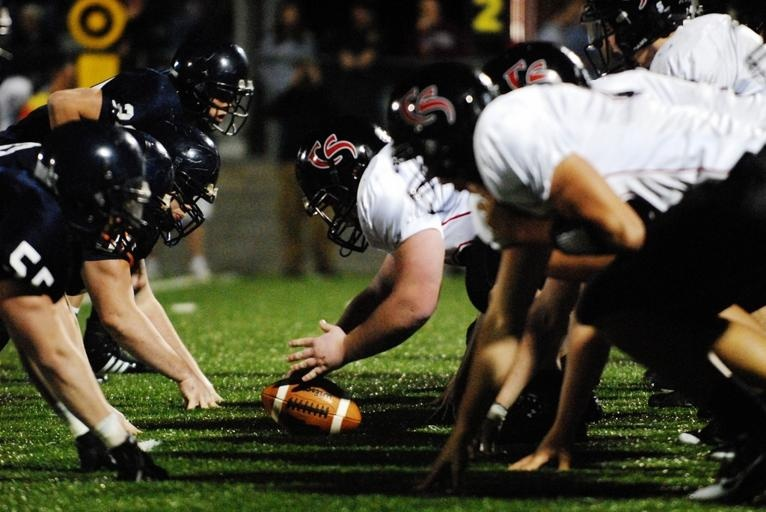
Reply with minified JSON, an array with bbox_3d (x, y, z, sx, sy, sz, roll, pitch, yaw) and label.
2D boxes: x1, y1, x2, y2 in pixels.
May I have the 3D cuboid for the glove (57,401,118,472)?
[{"bbox_3d":[-0.852,0.544,3.108,0.101,0.194,0.291,-25,-22,-1],"label":"glove"}]

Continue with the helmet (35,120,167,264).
[{"bbox_3d":[-0.868,-0.185,3.292,0.401,0.506,0.487,-1,16,-11],"label":"helmet"}]

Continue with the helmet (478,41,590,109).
[{"bbox_3d":[0.603,-0.684,3.893,0.421,0.124,0.465,0,5,0],"label":"helmet"}]

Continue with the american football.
[{"bbox_3d":[-0.232,0.503,3.556,0.279,0.157,0.171,10,4,2],"label":"american football"}]

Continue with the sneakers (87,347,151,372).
[{"bbox_3d":[-1.083,0.422,4.273,0.291,0.115,0.084,1,4,-17],"label":"sneakers"}]

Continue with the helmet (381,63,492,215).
[{"bbox_3d":[0.210,-0.364,3.150,0.431,0.395,0.355,-5,-9,36],"label":"helmet"}]

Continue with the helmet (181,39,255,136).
[{"bbox_3d":[-0.679,-0.668,4.137,0.357,0.321,0.296,19,12,1],"label":"helmet"}]

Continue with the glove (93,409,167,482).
[{"bbox_3d":[-0.771,0.582,3.180,0.206,0.085,0.071,46,29,-6],"label":"glove"}]
